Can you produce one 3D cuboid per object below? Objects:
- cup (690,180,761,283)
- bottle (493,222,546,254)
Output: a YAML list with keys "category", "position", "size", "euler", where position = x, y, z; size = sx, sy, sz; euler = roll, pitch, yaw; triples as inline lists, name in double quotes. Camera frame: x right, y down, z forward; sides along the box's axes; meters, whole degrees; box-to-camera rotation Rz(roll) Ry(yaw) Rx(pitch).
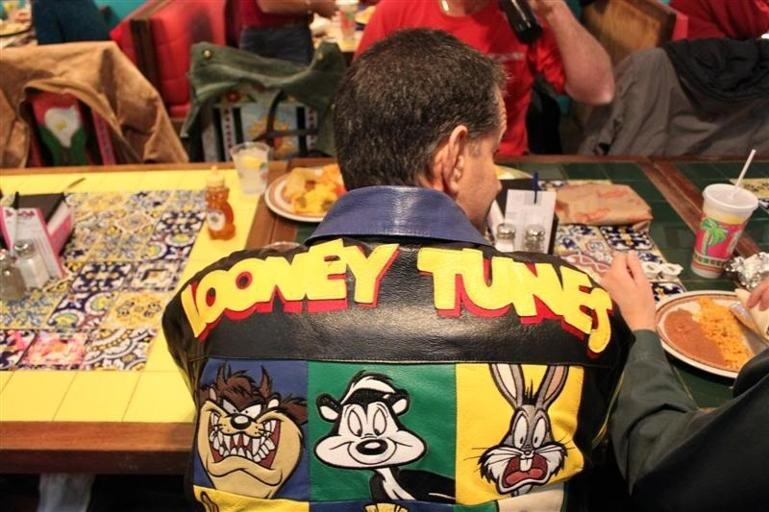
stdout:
- category: "cup"
  position: [1.161, -0.053, 2.204]
  size: [0.196, 0.279, 0.194]
  euler: [8, 19, -3]
- category: "bottle"
  position: [0.461, -0.069, 2.153]
  size: [0.167, 0.168, 0.097]
  euler: [4, 24, 8]
